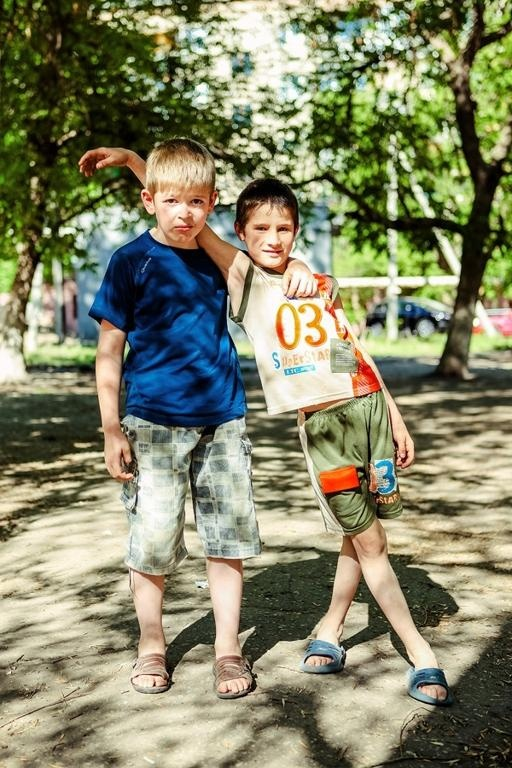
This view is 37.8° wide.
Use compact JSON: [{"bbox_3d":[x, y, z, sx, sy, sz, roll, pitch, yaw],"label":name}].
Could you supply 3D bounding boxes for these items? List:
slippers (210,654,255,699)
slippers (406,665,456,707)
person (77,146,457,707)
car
[{"bbox_3d":[-0.065,0.887,2.305,0.126,0.104,0.204,2,13,-2],"label":"slippers"},{"bbox_3d":[0.509,0.885,2.196,0.144,0.091,0.106,8,14,25],"label":"slippers"},{"bbox_3d":[0.249,0.185,2.330,0.926,1.611,0.380,10,16,27],"label":"person"},{"bbox_3d":[7.236,-2.470,28.674,6.011,1.785,2.607,-1,3,16],"label":"car"}]
